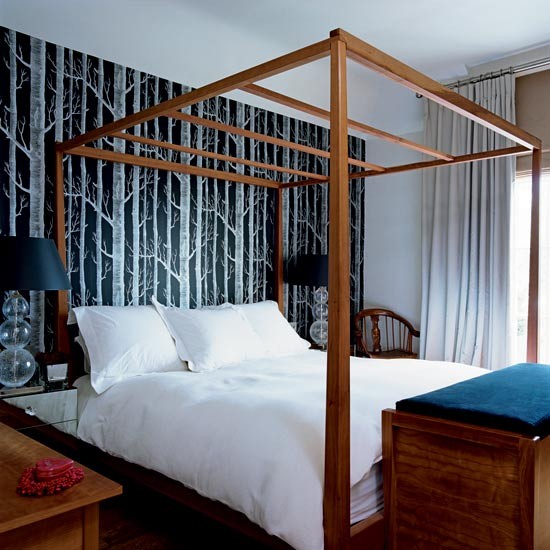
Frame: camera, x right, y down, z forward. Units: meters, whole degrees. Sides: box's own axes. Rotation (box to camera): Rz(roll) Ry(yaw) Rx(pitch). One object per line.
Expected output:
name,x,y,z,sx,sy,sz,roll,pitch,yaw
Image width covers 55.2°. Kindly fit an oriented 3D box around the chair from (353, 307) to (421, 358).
chair,1.013,0.677,4.740,0.526,0.796,0.556,-1,-4,5
